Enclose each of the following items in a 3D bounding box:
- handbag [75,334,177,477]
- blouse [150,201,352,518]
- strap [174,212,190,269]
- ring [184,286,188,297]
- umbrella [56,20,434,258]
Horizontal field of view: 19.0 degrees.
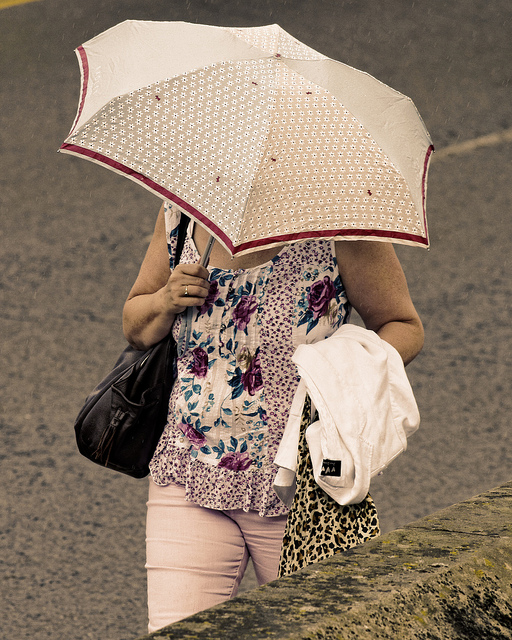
[{"bbox_3d":[-0.467,0.337,5.545,0.268,0.549,0.552,22,98,-9],"label":"handbag"},{"bbox_3d":[-0.025,0.156,5.268,0.569,0.420,1.116,1,71,39],"label":"blouse"},{"bbox_3d":[-0.254,-0.275,5.267,0.034,0.023,0.230,11,101,-7],"label":"strap"},{"bbox_3d":[-0.229,-0.091,5.076,0.008,0.023,0.031,1,107,10],"label":"ring"},{"bbox_3d":[-0.009,-0.579,4.951,1.273,0.281,0.841,13,78,4],"label":"umbrella"}]
